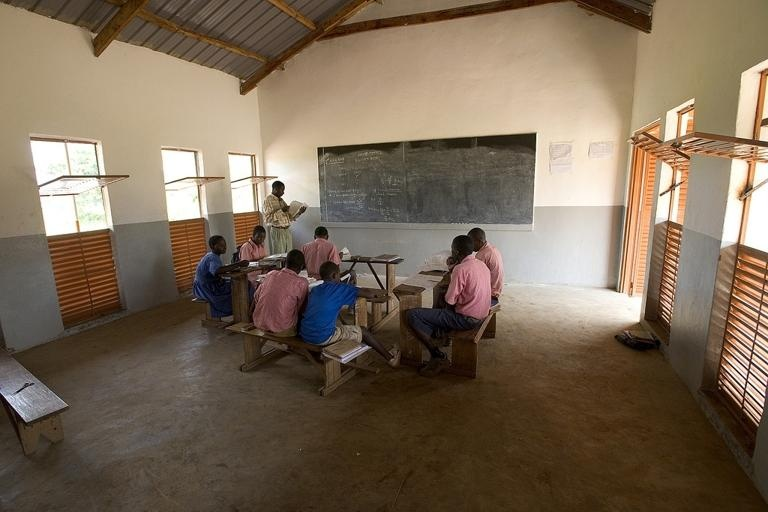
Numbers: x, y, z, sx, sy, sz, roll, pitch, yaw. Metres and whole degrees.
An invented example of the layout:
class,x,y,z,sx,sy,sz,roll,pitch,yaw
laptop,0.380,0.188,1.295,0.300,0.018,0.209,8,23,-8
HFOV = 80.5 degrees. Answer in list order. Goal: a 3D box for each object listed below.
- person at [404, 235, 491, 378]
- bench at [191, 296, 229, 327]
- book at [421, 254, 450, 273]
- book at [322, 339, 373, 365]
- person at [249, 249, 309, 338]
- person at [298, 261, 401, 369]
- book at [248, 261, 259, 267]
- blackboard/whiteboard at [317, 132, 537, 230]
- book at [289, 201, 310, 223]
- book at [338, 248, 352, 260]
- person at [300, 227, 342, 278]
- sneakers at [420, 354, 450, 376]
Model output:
class,x,y,z,sx,sy,sz,roll,pitch,yaw
person,0.799,0.579,5.479,0.964,1.611,0.349,-3,13,-14
bench,-2.647,0.865,6.903,0.419,0.262,0.225,9,16,39
book,0.734,0.091,6.328,0.285,0.121,0.277,2,30,11
book,-0.455,1.104,5.236,0.363,0.083,0.365,8,12,34
person,-1.270,0.436,5.514,0.613,0.980,0.627,3,14,-14
person,-0.544,0.719,5.611,1.483,1.245,1.060,7,13,31
book,-1.959,0.133,6.803,0.122,0.053,0.127,5,6,23
blackboard/whiteboard,0.607,-1.370,8.814,4.500,1.720,0.062,3,15,27
book,-1.528,-0.820,8.389,0.413,0.143,0.405,-4,31,39
book,-0.652,-0.026,7.512,0.163,0.278,0.271,6,6,26
person,-1.021,0.037,7.112,0.692,0.921,0.498,4,10,5
sneakers,0.592,1.326,5.533,0.387,0.170,0.177,-10,12,-19
